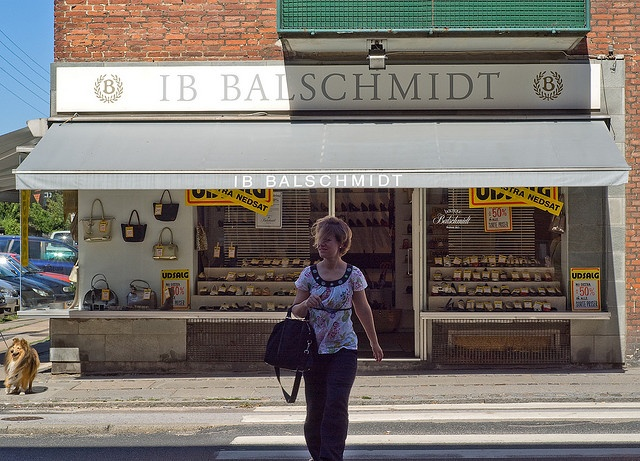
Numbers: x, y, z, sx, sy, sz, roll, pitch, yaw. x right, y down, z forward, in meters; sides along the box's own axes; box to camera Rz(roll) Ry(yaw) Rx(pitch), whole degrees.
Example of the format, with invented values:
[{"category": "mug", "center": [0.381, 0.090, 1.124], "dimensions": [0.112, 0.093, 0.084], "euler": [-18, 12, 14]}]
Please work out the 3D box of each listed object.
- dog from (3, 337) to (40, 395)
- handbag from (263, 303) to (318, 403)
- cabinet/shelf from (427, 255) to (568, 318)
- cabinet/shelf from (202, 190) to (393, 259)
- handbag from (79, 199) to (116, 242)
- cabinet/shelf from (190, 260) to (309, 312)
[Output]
[{"category": "dog", "center": [-5.264, 2.384, 18.228], "dimensions": [0.687, 0.906, 0.600], "euler": [3, 2, -18]}, {"category": "handbag", "center": [-0.413, 1.828, 14.656], "dimensions": [0.762, 1.471, 0.468], "euler": [1, 15, 6]}, {"category": "cabinet/shelf", "center": [3.505, 1.031, 20.279], "dimensions": [1.797, 0.528, 1.261], "euler": [-1, -2, 3]}, {"category": "cabinet/shelf", "center": [-0.598, -0.112, 20.581], "dimensions": [3.105, 1.422, 0.779], "euler": [3, -2, 0]}, {"category": "handbag", "center": [-4.261, -0.163, 19.802], "dimensions": [0.873, 0.955, 0.239], "euler": [-1, -11, -2]}, {"category": "cabinet/shelf", "center": [-1.393, 0.718, 20.128], "dimensions": [2.000, 0.590, 0.867], "euler": [-1, -2, -2]}]
